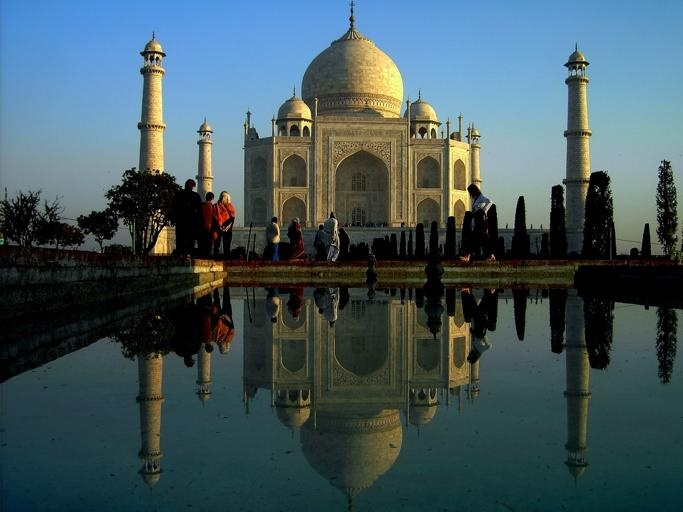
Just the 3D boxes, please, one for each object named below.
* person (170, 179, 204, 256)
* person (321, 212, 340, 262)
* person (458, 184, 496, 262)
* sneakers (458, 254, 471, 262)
[{"bbox_3d":[-1.683,-0.397,9.849,0.315,0.897,0.971,-1,6,-10],"label":"person"},{"bbox_3d":[-0.149,-0.301,14.125,0.237,0.754,0.217,0,0,35],"label":"person"},{"bbox_3d":[1.946,-0.460,12.891,0.493,1.151,1.782,1,6,8],"label":"person"},{"bbox_3d":[1.807,0.023,13.108,0.116,0.075,0.116,0,2,34],"label":"sneakers"}]
